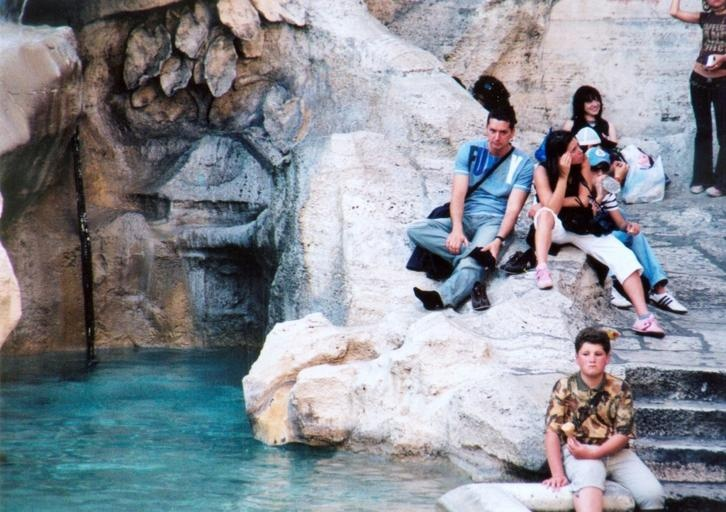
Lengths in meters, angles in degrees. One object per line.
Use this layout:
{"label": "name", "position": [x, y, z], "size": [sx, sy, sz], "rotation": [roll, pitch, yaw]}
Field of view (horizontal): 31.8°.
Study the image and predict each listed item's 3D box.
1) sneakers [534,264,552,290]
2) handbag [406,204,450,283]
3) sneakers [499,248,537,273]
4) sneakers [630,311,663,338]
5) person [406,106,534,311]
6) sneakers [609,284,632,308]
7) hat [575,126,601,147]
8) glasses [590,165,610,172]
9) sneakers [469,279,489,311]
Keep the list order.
{"label": "sneakers", "position": [1.567, 0.174, 10.918], "size": [0.138, 0.203, 0.112], "rotation": [0, 12, 11]}
{"label": "handbag", "position": [0.622, -0.129, 11.437], "size": [0.236, 0.599, 0.532], "rotation": [14, 6, -3]}
{"label": "sneakers", "position": [1.383, 0.052, 11.244], "size": [0.374, 0.150, 0.140], "rotation": [-17, 19, 8]}
{"label": "sneakers", "position": [2.447, 0.599, 10.917], "size": [0.136, 0.143, 0.312], "rotation": [3, -3, -20]}
{"label": "person", "position": [0.970, -0.430, 11.172], "size": [1.155, 1.692, 0.652], "rotation": [-3, 12, -3]}
{"label": "sneakers", "position": [2.302, 0.356, 11.432], "size": [0.088, 0.112, 0.261], "rotation": [-19, 33, -37]}
{"label": "hat", "position": [1.985, -1.050, 11.209], "size": [0.155, 0.080, 0.222], "rotation": [-4, 12, 0]}
{"label": "glasses", "position": [2.078, -0.776, 11.120], "size": [0.105, 0.075, 0.170], "rotation": [3, 9, -9]}
{"label": "sneakers", "position": [1.021, 0.340, 11.027], "size": [0.179, 0.228, 0.198], "rotation": [-1, 12, 5]}
